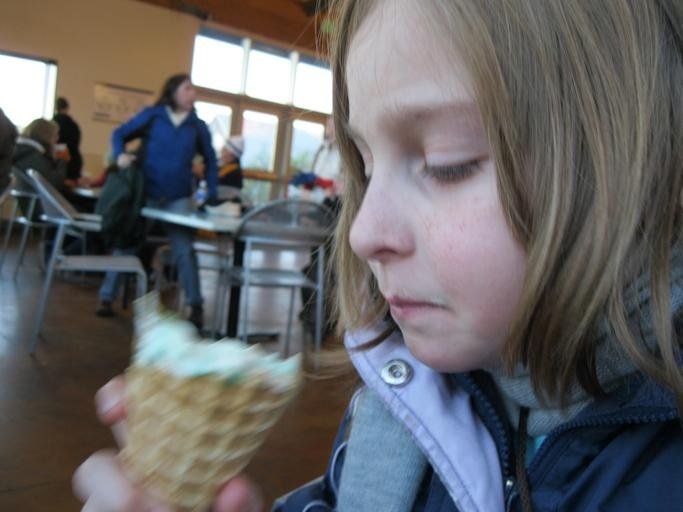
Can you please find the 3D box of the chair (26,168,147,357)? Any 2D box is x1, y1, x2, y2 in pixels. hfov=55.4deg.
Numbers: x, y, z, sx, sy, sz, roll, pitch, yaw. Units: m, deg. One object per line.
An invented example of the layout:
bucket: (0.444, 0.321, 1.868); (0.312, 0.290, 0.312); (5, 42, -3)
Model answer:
chair: (-1.066, -0.014, 3.012); (0.608, 0.970, 0.600); (1, 11, -15)

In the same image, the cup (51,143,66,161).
cup: (-1.268, -0.466, 2.918); (0.049, 0.060, 0.044); (19, 4, -23)

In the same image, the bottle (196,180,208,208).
bottle: (-0.677, -0.301, 3.139); (0.056, 0.157, 0.077); (12, 45, -6)

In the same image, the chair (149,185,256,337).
chair: (-0.646, 0.008, 3.330); (0.584, 0.651, 0.475); (-1, 4, -5)
